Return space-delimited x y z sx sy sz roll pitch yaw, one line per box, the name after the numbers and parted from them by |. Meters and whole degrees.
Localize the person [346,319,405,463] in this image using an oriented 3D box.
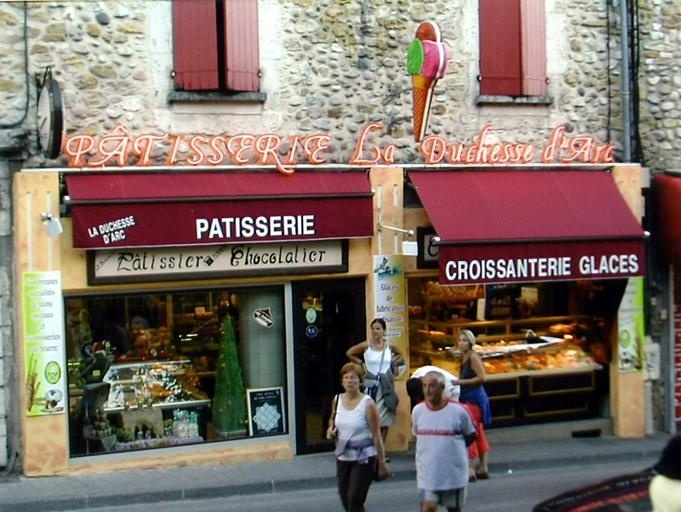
0.499 2.081 16.690 0.782 2.138 0.937 0 -1 -1 | person
